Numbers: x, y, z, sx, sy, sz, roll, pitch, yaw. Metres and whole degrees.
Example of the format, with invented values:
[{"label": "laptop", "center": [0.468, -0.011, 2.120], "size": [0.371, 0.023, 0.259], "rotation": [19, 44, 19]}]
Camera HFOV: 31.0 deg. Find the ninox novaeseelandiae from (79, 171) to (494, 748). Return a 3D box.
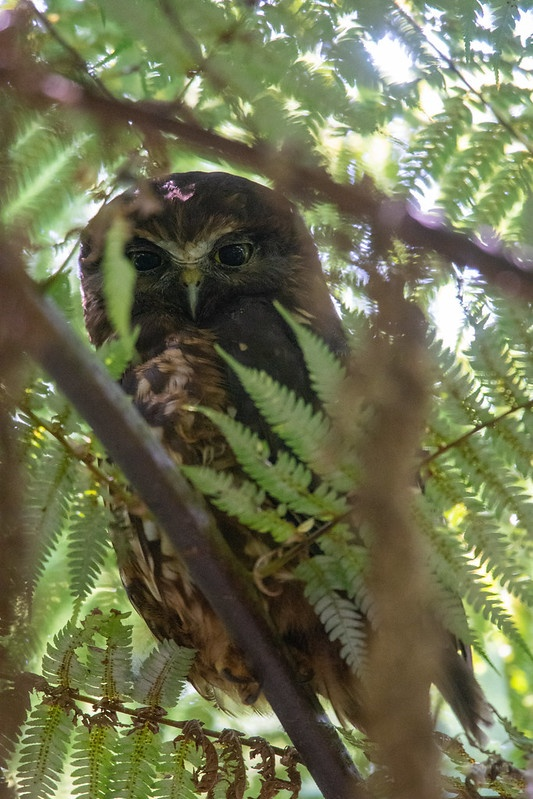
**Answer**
[{"label": "ninox novaeseelandiae", "center": [-0.016, 0.097, 2.021], "size": [0.650, 1.223, 0.894], "rotation": [-8, -8, -9]}]
